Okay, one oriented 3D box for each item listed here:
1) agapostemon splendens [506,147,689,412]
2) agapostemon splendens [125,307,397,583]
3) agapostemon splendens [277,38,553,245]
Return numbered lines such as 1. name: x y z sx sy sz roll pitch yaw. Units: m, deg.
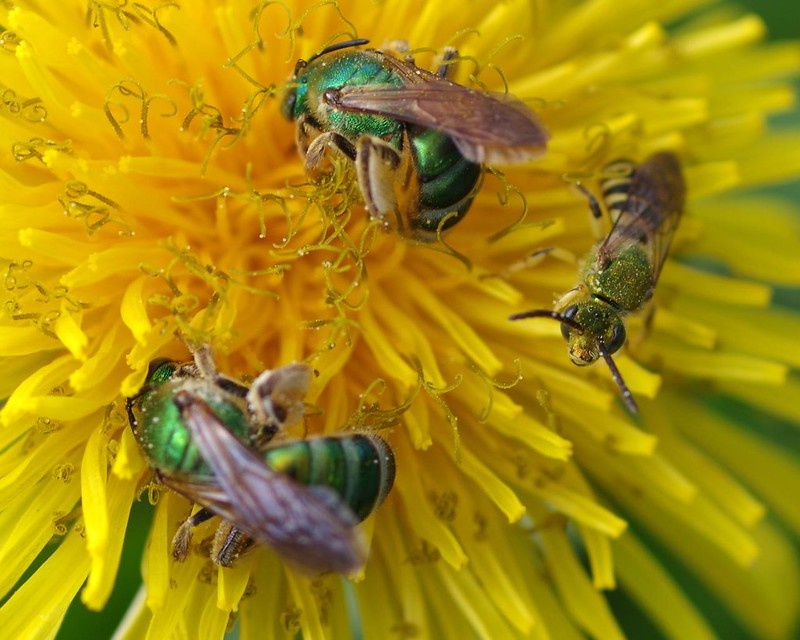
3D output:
1. agapostemon splendens: 0.363 -0.045 1.670 0.282 0.505 0.163 24 3 0
2. agapostemon splendens: -0.288 0.143 1.353 0.479 0.181 0.358 21 70 40
3. agapostemon splendens: -0.003 -0.322 1.387 0.408 0.143 0.293 36 57 28
